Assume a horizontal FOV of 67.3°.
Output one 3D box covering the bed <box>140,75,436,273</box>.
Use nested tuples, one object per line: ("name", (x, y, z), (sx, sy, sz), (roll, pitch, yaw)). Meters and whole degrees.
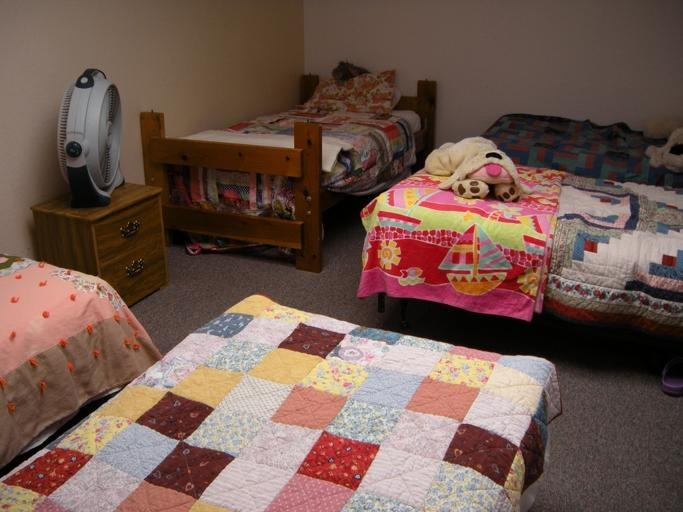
("bed", (-0.314, -0.994, 4.097), (1.418, 1.022, 2.241), (8, 25, 19))

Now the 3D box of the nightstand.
("nightstand", (-1.398, -0.154, 3.149), (0.644, 0.844, 0.818), (9, 23, 18))

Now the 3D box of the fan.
("fan", (-1.366, -0.617, 2.762), (0.242, 0.684, 0.638), (6, 20, -2))
